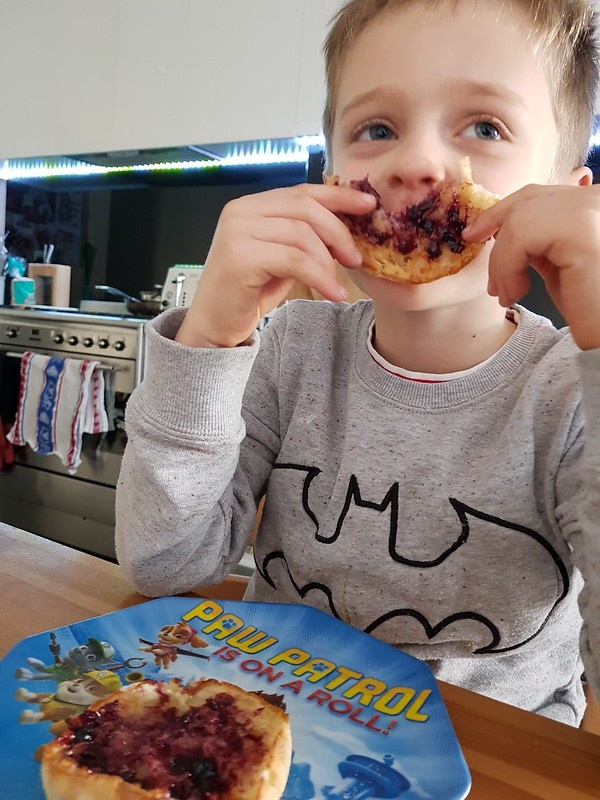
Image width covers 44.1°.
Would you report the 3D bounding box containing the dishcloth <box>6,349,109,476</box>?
[{"bbox_3d":[-0.862,0.035,2.642,0.469,0.393,0.186,9,12,33],"label":"dishcloth"}]
